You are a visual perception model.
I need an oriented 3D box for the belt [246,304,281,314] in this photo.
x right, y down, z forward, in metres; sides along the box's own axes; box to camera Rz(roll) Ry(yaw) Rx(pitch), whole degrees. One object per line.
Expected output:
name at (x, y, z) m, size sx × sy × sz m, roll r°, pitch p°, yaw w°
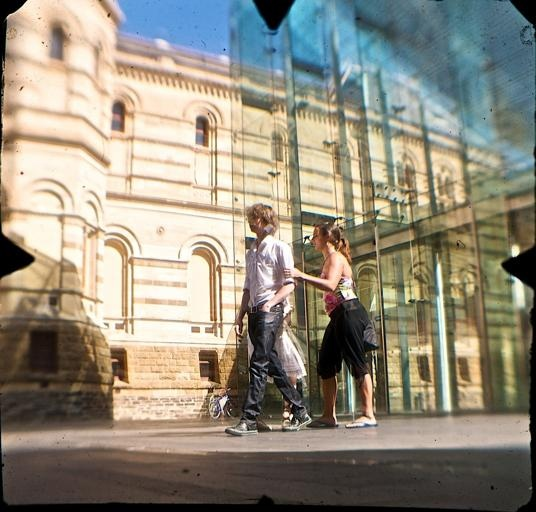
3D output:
belt at (-0.012, 0.310, 3.231) m, size 0.191 × 0.056 × 0.158 m, roll -2°, pitch -12°, yaw 5°

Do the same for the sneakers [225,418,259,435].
sneakers at (-0.140, 0.929, 2.975) m, size 0.180 × 0.088 × 0.077 m, roll 10°, pitch -20°, yaw -20°

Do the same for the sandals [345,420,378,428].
sandals at (0.575, 1.044, 3.355) m, size 0.168 × 0.046 × 0.067 m, roll 10°, pitch -26°, yaw -14°

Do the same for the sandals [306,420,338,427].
sandals at (0.364, 1.117, 3.623) m, size 0.166 × 0.056 × 0.072 m, roll 6°, pitch -16°, yaw 4°

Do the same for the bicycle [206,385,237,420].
bicycle at (-1.052, 3.017, 11.151) m, size 0.757 × 0.503 × 0.379 m, roll -13°, pitch -19°, yaw 41°

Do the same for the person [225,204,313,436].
person at (0.002, 0.358, 3.317) m, size 0.460 × 1.388 × 0.668 m, roll -1°, pitch -11°, yaw 6°
